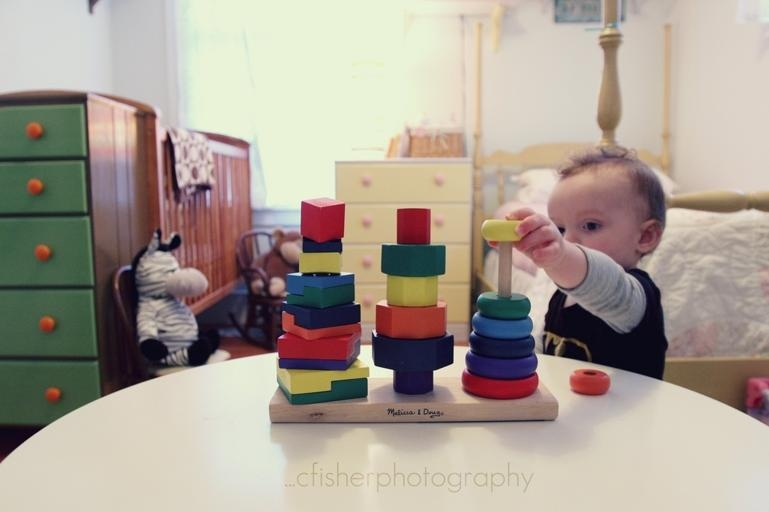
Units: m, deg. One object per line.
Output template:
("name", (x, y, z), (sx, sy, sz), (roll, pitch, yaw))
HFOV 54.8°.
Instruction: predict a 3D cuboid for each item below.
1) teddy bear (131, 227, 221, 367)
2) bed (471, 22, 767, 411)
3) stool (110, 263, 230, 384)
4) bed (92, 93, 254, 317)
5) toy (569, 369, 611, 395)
("teddy bear", (-0.860, 0.179, 3.119), (0.370, 0.569, 0.350), (-3, 9, -40))
("bed", (0.836, -0.008, 2.835), (0.813, 1.094, 1.528), (1, 2, 9))
("stool", (-0.880, 0.231, 3.182), (0.505, 0.609, 0.486), (1, 4, 12))
("bed", (-0.963, -0.241, 3.392), (0.451, 0.787, 1.171), (0, 10, 3))
("toy", (0.552, 0.327, 1.977), (0.073, 0.035, 0.071), (-4, 2, -36))
